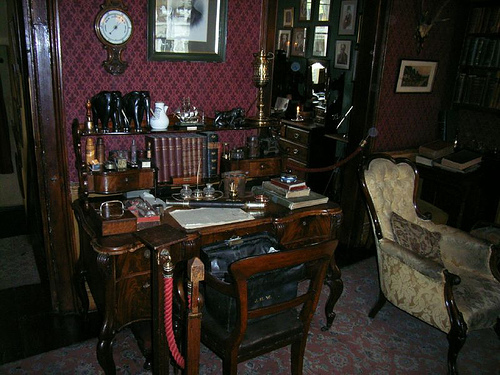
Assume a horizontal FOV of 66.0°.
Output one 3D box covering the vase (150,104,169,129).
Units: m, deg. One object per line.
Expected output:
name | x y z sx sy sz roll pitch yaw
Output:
vase | -0.801 -0.668 3.541 0.235 0.250 0.178 -5 18 -21

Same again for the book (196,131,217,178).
book | -0.423 -0.331 3.687 0.117 0.336 0.344 -4 20 -18

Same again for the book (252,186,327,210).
book | 0.420 0.093 3.511 0.315 0.066 0.317 -9 22 -31

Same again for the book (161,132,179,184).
book | -0.741 -0.281 3.530 0.192 0.359 0.352 -3 18 -18

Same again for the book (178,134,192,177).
book | -0.612 -0.313 3.584 0.180 0.361 0.291 -3 16 -11

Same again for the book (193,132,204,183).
book | -0.493 -0.297 3.652 0.129 0.365 0.371 0 19 -15

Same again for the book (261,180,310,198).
book | 0.301 0.013 3.580 0.218 0.051 0.227 -12 29 -37

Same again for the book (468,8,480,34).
book | 3.149 -2.342 5.420 0.043 0.339 0.097 -12 18 -37

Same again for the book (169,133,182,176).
book | -0.690 -0.309 3.546 0.162 0.317 0.311 -1 14 -16

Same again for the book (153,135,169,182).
book | -0.812 -0.281 3.488 0.181 0.360 0.351 -3 9 -16

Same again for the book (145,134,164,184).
book | -0.883 -0.253 3.520 0.167 0.433 0.068 7 17 30

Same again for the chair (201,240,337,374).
chair | 0.096 0.862 2.739 0.665 1.124 0.786 -9 33 -24
